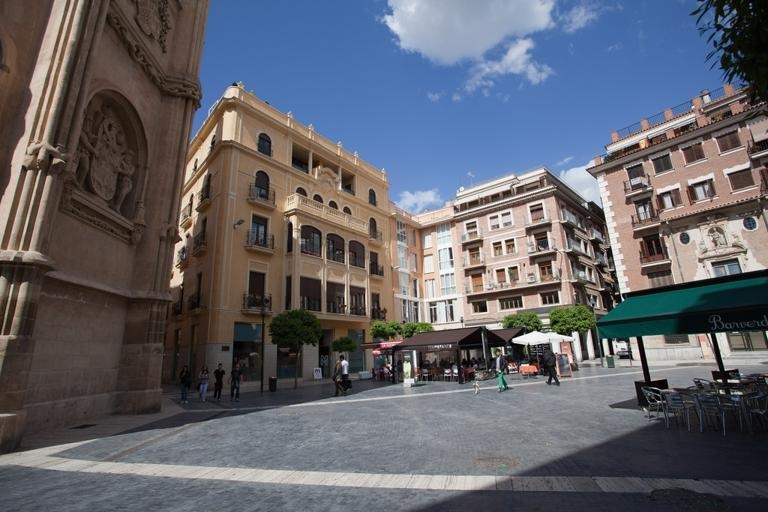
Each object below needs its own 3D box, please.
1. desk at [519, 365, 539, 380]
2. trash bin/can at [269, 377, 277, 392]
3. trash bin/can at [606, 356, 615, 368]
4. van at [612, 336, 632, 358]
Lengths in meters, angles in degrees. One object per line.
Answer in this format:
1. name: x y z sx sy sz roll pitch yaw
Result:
1. desk: 10.581 8.259 28.187 1.207 0.964 1.157 0 -22 1
2. trash bin/can: -7.111 8.172 25.084 0.296 0.866 0.555 5 -19 -25
3. trash bin/can: 16.389 7.627 28.369 0.320 0.807 0.746 -10 -18 18
4. van: 24.212 9.423 39.943 1.216 1.905 3.390 -12 -18 25
